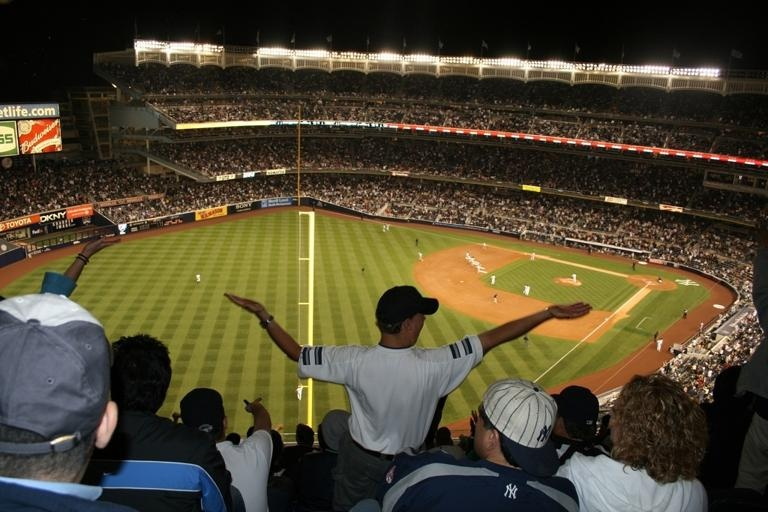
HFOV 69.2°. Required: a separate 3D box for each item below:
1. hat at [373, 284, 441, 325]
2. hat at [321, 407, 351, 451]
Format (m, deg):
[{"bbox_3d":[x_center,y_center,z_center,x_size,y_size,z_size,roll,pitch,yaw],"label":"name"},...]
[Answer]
[{"bbox_3d":[0.225,0.500,5.531,0.555,0.271,0.360,-18,24,-13],"label":"hat"},{"bbox_3d":[-0.643,2.278,7.219,0.336,0.334,1.080,4,4,-4],"label":"hat"}]
